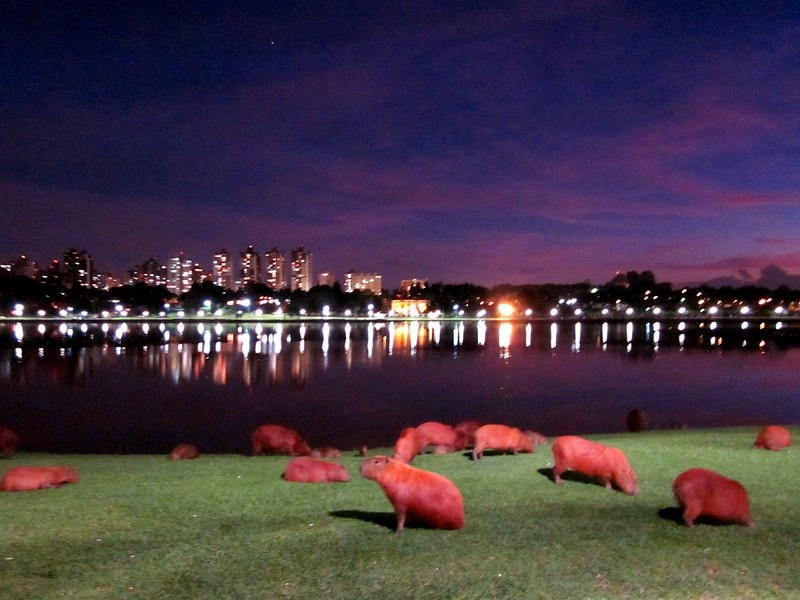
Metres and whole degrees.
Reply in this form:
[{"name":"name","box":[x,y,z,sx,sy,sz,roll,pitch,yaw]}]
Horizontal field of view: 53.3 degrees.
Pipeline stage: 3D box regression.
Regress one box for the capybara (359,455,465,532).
[{"name":"capybara","box":[0.314,4.388,17.591,2.761,1.358,1.049,9,-3,24]}]

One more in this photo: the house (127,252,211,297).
[{"name":"house","box":[-109.130,-9.793,382.223,38.669,11.829,35.485,1,2,-7]}]

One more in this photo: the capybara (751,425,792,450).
[{"name":"capybara","box":[10.827,3.919,22.733,1.110,0.500,0.567,-3,-3,-33]}]

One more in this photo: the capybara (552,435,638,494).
[{"name":"capybara","box":[4.789,4.082,19.364,2.339,1.106,0.771,11,2,32]}]

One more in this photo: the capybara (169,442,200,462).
[{"name":"capybara","box":[-6.761,4.768,24.890,0.630,0.339,0.679,5,-1,-2]}]

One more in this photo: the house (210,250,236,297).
[{"name":"house","box":[-115.699,-19.861,506.287,19.379,24.071,16.758,0,4,-11]}]
